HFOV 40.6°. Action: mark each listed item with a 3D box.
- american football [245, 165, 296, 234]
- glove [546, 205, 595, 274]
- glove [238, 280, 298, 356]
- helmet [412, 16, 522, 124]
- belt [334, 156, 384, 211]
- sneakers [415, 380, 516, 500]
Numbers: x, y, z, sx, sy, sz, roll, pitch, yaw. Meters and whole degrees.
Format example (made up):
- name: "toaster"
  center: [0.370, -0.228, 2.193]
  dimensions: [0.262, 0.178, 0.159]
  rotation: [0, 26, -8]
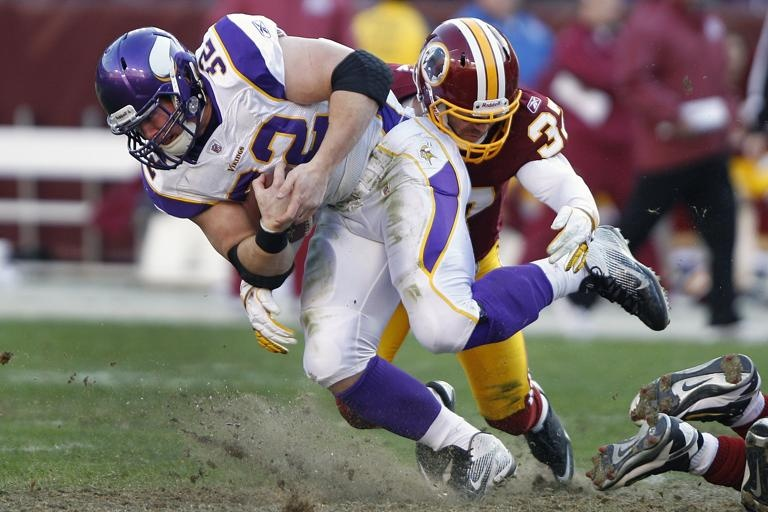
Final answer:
- name: "american football"
  center: [-0.508, -0.255, 4.653]
  dimensions: [0.258, 0.348, 0.159]
  rotation: [-5, -1, 38]
- name: "glove"
  center: [0.868, -0.068, 4.761]
  dimensions: [0.255, 0.275, 0.074]
  rotation: [38, -4, -15]
- name: "glove"
  center: [-0.506, 0.259, 4.849]
  dimensions: [0.113, 0.212, 0.371]
  rotation: [-36, 83, -36]
- name: "helmet"
  center: [0.382, -0.866, 4.926]
  dimensions: [0.381, 0.431, 0.507]
  rotation: [-19, 48, -32]
- name: "belt"
  center: [-0.097, -0.308, 4.926]
  dimensions: [0.187, 0.243, 0.087]
  rotation: [46, 11, 30]
- name: "sneakers"
  center: [0.382, 0.879, 4.859]
  dimensions: [0.481, 0.171, 0.220]
  rotation: [45, 41, 15]
